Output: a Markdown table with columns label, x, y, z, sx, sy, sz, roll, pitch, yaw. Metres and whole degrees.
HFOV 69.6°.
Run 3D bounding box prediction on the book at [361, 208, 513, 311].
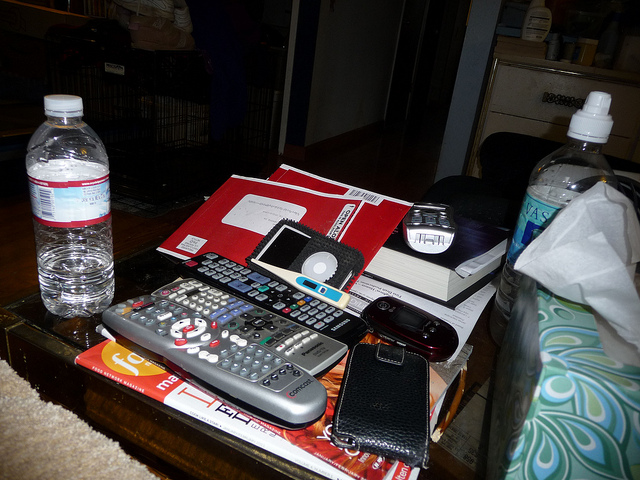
| label | x | y | z | sx | sy | sz | roll | pitch | yaw |
| --- | --- | --- | --- | --- | --- | --- | --- | --- | --- |
| book | 0.179 | 0.007 | 0.766 | 0.279 | 0.056 | 0.300 | 7 | 23 | 22 |

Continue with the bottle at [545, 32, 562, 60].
| label | x | y | z | sx | sy | sz | roll | pitch | yaw |
| --- | --- | --- | --- | --- | --- | --- | --- | --- | --- |
| bottle | 1.141 | -0.938 | 2.230 | 0.079 | 0.108 | 0.189 | 18 | 33 | 19 |

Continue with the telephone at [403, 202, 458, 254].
| label | x | y | z | sx | sy | sz | roll | pitch | yaw |
| --- | --- | --- | --- | --- | --- | --- | --- | --- | --- |
| telephone | 0.163 | -0.030 | 0.683 | 0.057 | 0.030 | 0.094 | 5 | 33 | 14 |

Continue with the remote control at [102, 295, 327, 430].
| label | x | y | z | sx | sy | sz | roll | pitch | yaw |
| --- | --- | --- | --- | --- | --- | --- | --- | --- | --- |
| remote control | -0.124 | 0.124 | 0.498 | 0.266 | 0.048 | 0.087 | 20 | 17 | 21 |

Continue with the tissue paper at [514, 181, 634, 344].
| label | x | y | z | sx | sy | sz | roll | pitch | yaw |
| --- | --- | --- | --- | --- | --- | --- | --- | --- | --- |
| tissue paper | 0.271 | 0.016 | 0.430 | 0.122 | 0.089 | 0.117 | -17 | 38 | -33 |

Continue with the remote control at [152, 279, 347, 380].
| label | x | y | z | sx | sy | sz | roll | pitch | yaw |
| --- | --- | --- | --- | --- | --- | --- | --- | --- | --- |
| remote control | -0.088 | 0.099 | 0.535 | 0.232 | 0.028 | 0.074 | 19 | 21 | 22 |

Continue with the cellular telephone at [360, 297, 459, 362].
| label | x | y | z | sx | sy | sz | roll | pitch | yaw |
| --- | --- | --- | --- | --- | --- | --- | --- | --- | --- |
| cellular telephone | 0.111 | 0.104 | 0.557 | 0.096 | 0.029 | 0.062 | 23 | 44 | 25 |

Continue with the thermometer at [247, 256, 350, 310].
| label | x | y | z | sx | sy | sz | roll | pitch | yaw |
| --- | --- | --- | --- | --- | --- | --- | --- | --- | --- |
| thermometer | -0.032 | 0.056 | 0.616 | 0.149 | 0.012 | 0.028 | 22 | 39 | 13 |

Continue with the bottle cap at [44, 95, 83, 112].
| label | x | y | z | sx | sy | sz | roll | pitch | yaw |
| --- | --- | --- | --- | --- | --- | --- | --- | --- | --- |
| bottle cap | -0.283 | -0.149 | 0.506 | 0.035 | 0.012 | 0.022 | -11 | 35 | -27 |

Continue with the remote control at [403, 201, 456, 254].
| label | x | y | z | sx | sy | sz | roll | pitch | yaw |
| --- | --- | --- | --- | --- | --- | --- | --- | --- | --- |
| remote control | 0.162 | -0.021 | 0.691 | 0.077 | 0.034 | 0.109 | 12 | 31 | 9 |
